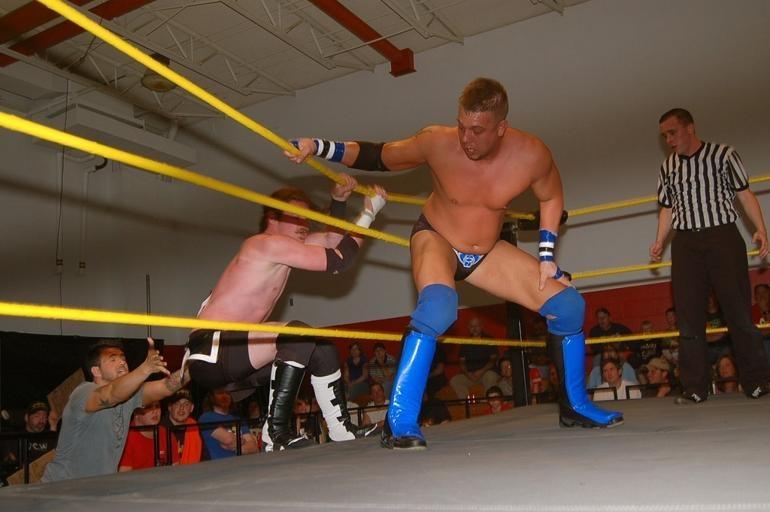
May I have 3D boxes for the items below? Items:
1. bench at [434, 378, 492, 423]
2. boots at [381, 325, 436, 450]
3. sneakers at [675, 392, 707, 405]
[{"bbox_3d":[0.877,2.021,9.230,0.557,0.585,0.919,-3,-11,-16],"label":"bench"},{"bbox_3d":[0.148,0.815,4.098,0.360,0.714,0.197,-7,-21,16],"label":"boots"},{"bbox_3d":[2.350,1.106,5.166,0.265,0.094,0.090,5,13,-7],"label":"sneakers"}]
